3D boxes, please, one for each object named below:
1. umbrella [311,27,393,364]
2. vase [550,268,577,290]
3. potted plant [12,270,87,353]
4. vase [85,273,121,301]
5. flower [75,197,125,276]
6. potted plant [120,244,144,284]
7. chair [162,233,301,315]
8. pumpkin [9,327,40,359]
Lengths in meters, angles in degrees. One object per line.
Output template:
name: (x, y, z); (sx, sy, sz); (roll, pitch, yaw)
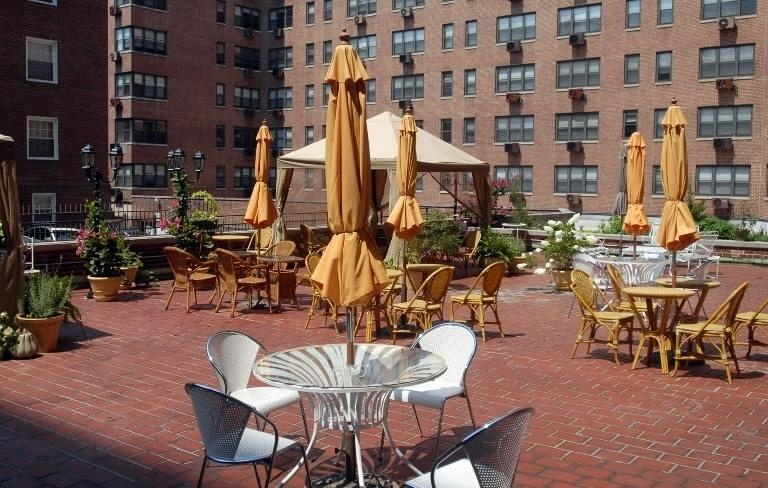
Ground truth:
umbrella: (-0.419, -0.528, 7.758); (0.808, 3.831, 0.481); (-1, 4, -1)
vase: (4.697, 0.932, 17.396); (0.680, 0.539, 0.693); (0, 2, 41)
potted plant: (-6.071, 1.192, 11.712); (0.839, 1.187, 0.872); (-1, -5, 38)
vase: (-6.565, 0.990, 15.487); (0.598, 0.459, 0.621); (0, -1, -6)
flower: (-6.850, -0.122, 15.902); (0.964, 1.726, 1.203); (-4, 4, -38)
potted plant: (-6.468, 0.565, 16.754); (0.809, 0.887, 0.835); (1, -1, -8)
chair: (-3.498, 0.752, 15.168); (2.333, 1.486, 2.027); (0, 3, 15)
pumpkin: (-6.091, 1.665, 11.314); (0.394, 0.469, 0.440); (0, 4, 36)
